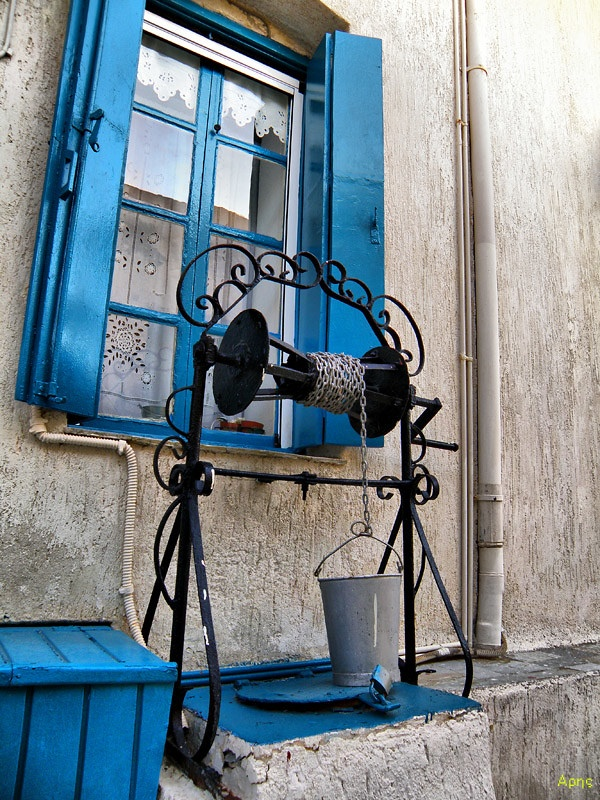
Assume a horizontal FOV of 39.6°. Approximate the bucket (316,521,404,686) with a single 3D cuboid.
[{"bbox_3d":[0.154,0.609,2.203,0.221,0.310,0.289,3,-3,7],"label":"bucket"}]
